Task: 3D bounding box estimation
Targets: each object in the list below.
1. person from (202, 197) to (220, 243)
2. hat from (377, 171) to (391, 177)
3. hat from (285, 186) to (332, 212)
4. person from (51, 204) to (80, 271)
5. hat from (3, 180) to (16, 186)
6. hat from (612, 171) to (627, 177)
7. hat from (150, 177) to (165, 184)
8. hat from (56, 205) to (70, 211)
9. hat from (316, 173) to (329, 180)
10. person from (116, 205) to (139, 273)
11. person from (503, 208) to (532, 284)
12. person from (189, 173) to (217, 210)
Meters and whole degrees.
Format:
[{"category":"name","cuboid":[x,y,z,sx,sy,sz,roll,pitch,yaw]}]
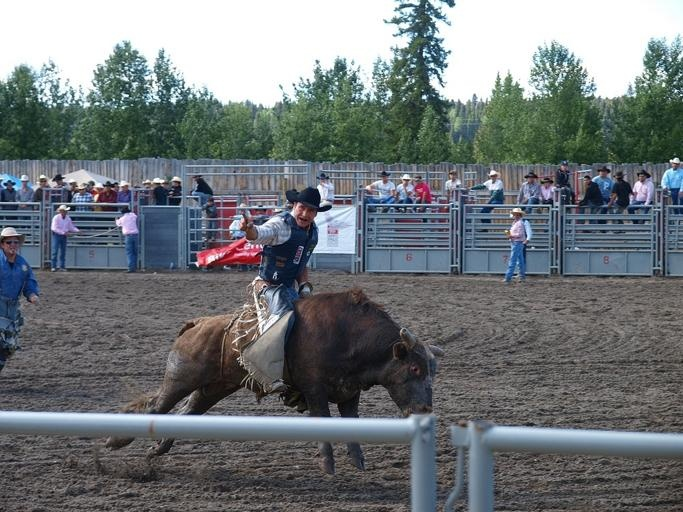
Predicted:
[{"category":"person","cuboid":[-4.146,-1.034,45.592,0.442,1.568,0.832,-1,2,-6]},{"category":"hat","cuboid":[1.356,-2.559,45.420,0.326,0.125,0.347,1,0,-1]},{"category":"hat","cuboid":[-0.796,-1.266,31.810,0.650,0.272,0.672,18,-5,-7]},{"category":"person","cuboid":[-8.772,-0.540,45.236,0.700,2.067,0.856,-2,2,-29]},{"category":"hat","cuboid":[-11.152,-2.422,48.394,0.414,0.143,0.450,1,-4,-12]},{"category":"hat","cuboid":[8.391,-2.436,43.705,0.387,0.170,0.454,0,3,22]},{"category":"hat","cuboid":[-6.096,-2.455,47.812,0.630,0.203,0.652,1,-2,-8]},{"category":"hat","cuboid":[-8.691,-1.467,44.974,0.256,0.092,0.231,-7,0,33]},{"category":"hat","cuboid":[-0.578,-2.401,44.016,0.305,0.132,0.346,1,-1,-10]},{"category":"person","cuboid":[-6.686,-0.501,45.226,0.647,2.066,0.801,-2,2,-17]},{"category":"person","cuboid":[5.171,-0.300,42.579,0.786,2.163,0.966,-1,2,6]},{"category":"person","cuboid":[-4.477,-1.980,46.200,0.963,1.603,1.025,1,-8,-9]}]
